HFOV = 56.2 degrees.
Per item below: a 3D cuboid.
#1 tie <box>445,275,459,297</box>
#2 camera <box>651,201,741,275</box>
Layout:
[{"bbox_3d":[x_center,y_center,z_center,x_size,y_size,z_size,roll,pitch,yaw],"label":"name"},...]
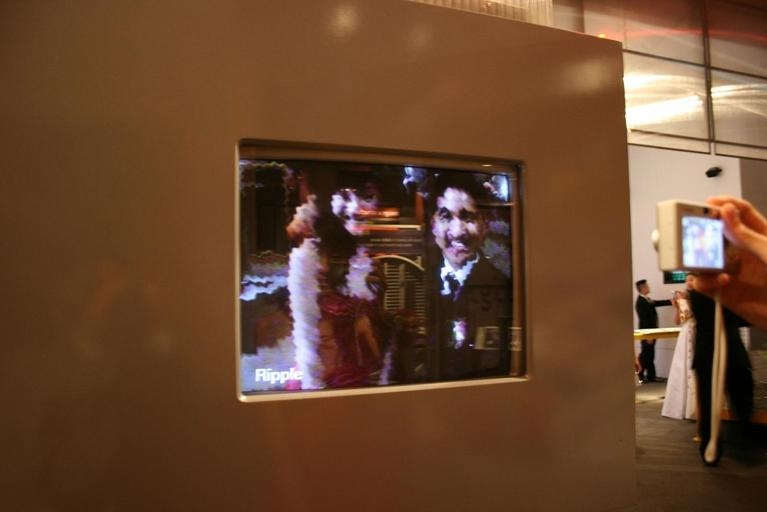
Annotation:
[{"bbox_3d":[0.302,0.134,3.210,0.086,0.084,0.021,4,2,-25],"label":"tie"},{"bbox_3d":[1.229,-0.066,2.914,0.316,0.282,0.162,2,-4,-29],"label":"camera"}]
